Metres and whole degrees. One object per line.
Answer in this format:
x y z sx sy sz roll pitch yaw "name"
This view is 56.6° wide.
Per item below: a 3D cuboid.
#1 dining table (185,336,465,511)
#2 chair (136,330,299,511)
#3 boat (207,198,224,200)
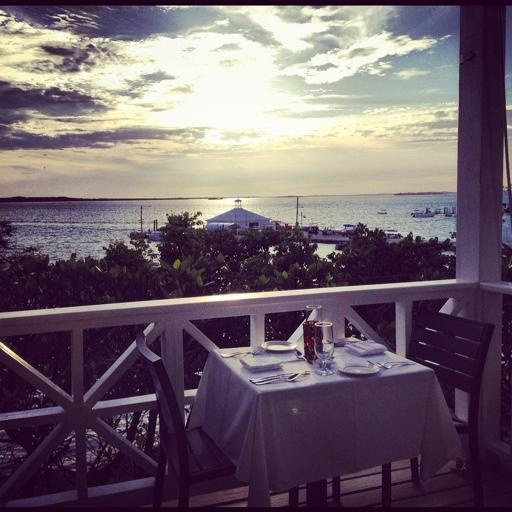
0.274 0.671 1.831 1.064 0.450 0.585 -1 6 0 "dining table"
-0.218 0.556 2.188 0.640 1.053 0.523 -5 12 -15 "chair"
-2.089 -3.047 24.827 0.704 0.148 0.854 -2 6 -16 "boat"
